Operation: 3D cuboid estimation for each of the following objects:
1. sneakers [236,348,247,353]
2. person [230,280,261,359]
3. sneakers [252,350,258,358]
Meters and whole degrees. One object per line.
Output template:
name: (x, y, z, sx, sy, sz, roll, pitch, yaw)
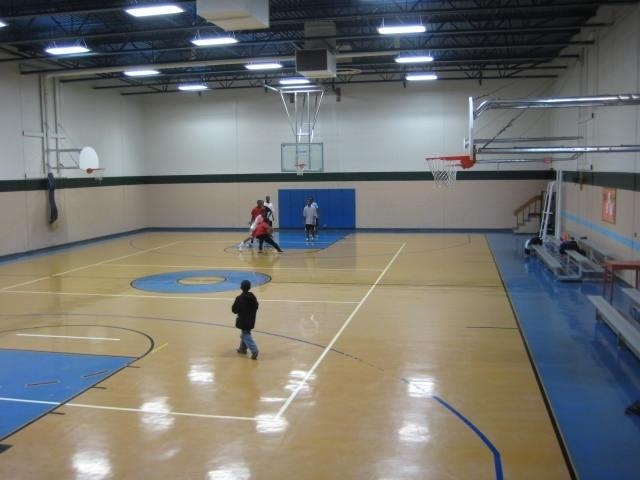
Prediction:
sneakers: (-1.373, 1.907, 8.827, 0.174, 0.081, 0.066, 12, 13, 33)
person: (-1.259, 1.312, 8.586, 0.392, 1.350, 0.462, -2, 10, -5)
sneakers: (-1.114, 1.933, 8.583, 0.052, 0.074, 0.164, 2, 10, -2)
